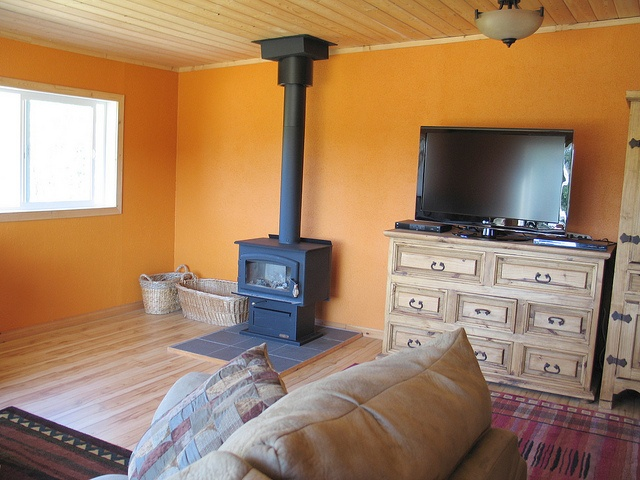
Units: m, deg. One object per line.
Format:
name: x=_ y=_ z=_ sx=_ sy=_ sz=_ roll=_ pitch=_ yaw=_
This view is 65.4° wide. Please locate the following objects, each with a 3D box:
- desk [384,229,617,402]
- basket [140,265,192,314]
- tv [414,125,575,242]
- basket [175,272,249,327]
desk: x=1.338 y=0.498 z=3.967 sx=1.574 sy=1.115 sz=0.605 roll=5 pitch=15 yaw=22
basket: x=-1.696 y=0.551 z=5.393 sx=0.405 sy=0.417 sz=0.609 roll=3 pitch=7 yaw=27
tv: x=1.392 y=-0.441 z=3.853 sx=0.917 sy=0.619 sz=0.278 roll=7 pitch=7 yaw=25
basket: x=-0.971 y=0.622 z=5.089 sx=0.731 sy=0.356 sz=0.457 roll=9 pitch=18 yaw=35
